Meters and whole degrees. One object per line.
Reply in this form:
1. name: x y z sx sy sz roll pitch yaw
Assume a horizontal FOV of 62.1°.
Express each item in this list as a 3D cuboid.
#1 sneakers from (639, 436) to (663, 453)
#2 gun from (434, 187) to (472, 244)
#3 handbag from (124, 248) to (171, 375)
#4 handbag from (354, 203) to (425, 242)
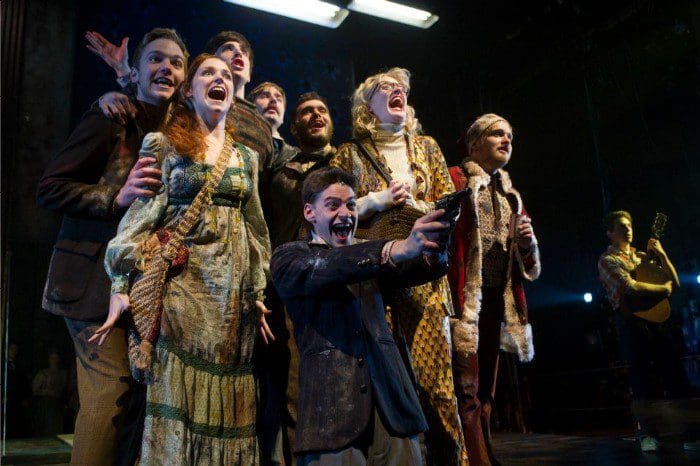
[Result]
1. sneakers: 2.510 1.765 4.846 0.167 0.176 0.113 -6 -6 25
2. gun: 0.526 -0.101 2.879 0.190 0.239 0.197 -12 -25 24
3. handbag: -1.135 0.431 3.258 0.146 0.683 0.172 17 -21 -30
4. handbag: 0.255 -0.051 3.654 0.299 0.119 0.237 -7 -13 -20
